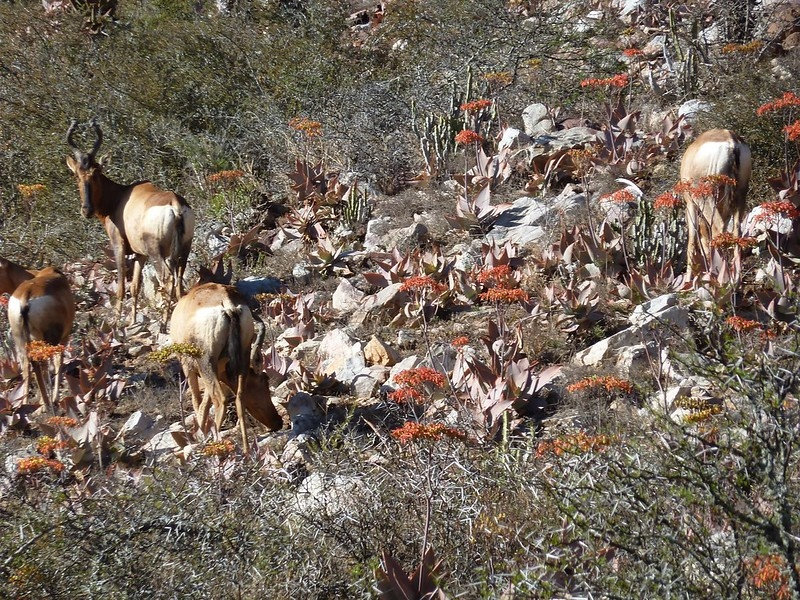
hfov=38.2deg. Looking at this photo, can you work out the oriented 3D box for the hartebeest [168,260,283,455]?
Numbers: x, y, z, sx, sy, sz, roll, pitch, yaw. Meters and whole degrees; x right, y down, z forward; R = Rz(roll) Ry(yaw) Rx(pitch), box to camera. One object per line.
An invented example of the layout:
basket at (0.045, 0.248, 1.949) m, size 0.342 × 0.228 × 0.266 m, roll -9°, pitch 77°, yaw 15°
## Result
hartebeest at (-1.773, 0.635, 11.556) m, size 0.917 × 1.536 × 0.807 m, roll -10°, pitch 15°, yaw 3°
